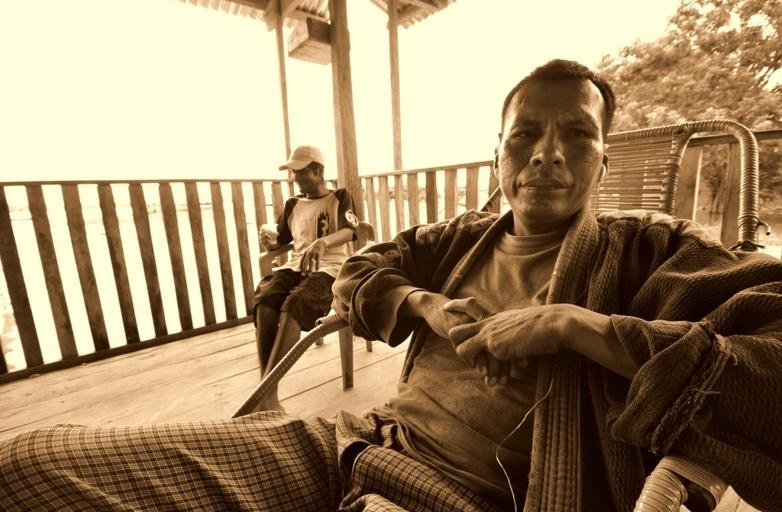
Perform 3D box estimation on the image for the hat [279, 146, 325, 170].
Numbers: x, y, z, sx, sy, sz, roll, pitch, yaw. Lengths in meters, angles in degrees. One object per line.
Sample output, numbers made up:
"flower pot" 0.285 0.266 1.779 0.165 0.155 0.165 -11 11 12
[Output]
"hat" -0.826 -0.934 5.361 0.314 0.163 0.217 -5 11 -35
